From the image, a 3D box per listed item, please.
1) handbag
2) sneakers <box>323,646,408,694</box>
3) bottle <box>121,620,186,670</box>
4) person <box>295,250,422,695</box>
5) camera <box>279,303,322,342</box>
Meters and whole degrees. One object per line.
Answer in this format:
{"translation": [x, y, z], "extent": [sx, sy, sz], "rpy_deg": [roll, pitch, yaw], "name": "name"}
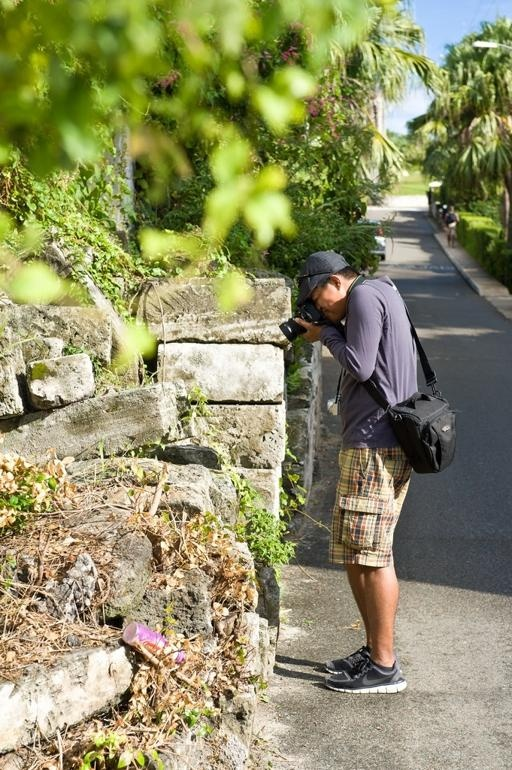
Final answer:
{"translation": [0.739, 0.212, 3.402], "extent": [0.179, 0.292, 0.312], "rpy_deg": [-11, 10, 30], "name": "handbag"}
{"translation": [0.524, 1.326, 3.588], "extent": [0.271, 0.093, 0.202], "rpy_deg": [2, 0, 6], "name": "sneakers"}
{"translation": [-0.309, 0.847, 2.468], "extent": [0.096, 0.086, 0.277], "rpy_deg": [-23, -43, 34], "name": "bottle"}
{"translation": [0.506, 0.397, 3.565], "extent": [0.531, 2.023, 0.489], "rpy_deg": [-2, 11, 2], "name": "person"}
{"translation": [0.232, -0.303, 3.731], "extent": [0.178, 0.165, 0.080], "rpy_deg": [-37, -8, 11], "name": "camera"}
